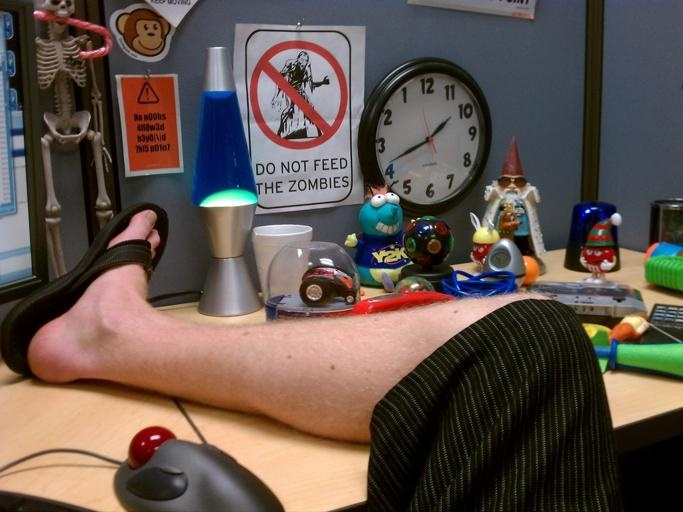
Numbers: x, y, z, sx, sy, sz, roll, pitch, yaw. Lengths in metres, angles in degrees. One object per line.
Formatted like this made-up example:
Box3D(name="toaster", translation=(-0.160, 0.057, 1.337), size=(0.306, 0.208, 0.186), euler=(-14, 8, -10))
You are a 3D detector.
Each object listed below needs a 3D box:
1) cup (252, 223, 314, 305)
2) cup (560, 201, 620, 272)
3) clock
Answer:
Box3D(name="cup", translation=(-0.111, 0.010, 1.022), size=(0.113, 0.153, 0.127), euler=(-1, 5, -5))
Box3D(name="cup", translation=(0.498, -0.040, 1.129), size=(0.115, 0.156, 0.134), euler=(-1, 4, -11))
Box3D(name="clock", translation=(0.168, -0.264, 1.204), size=(0.303, 0.339, 0.042), euler=(-8, 9, -26))
